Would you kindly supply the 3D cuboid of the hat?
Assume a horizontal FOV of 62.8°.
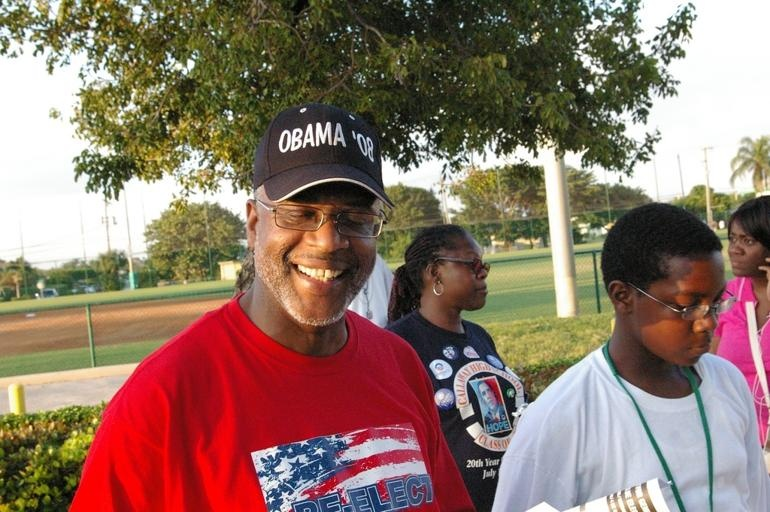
[{"bbox_3d":[-0.288,-0.481,2.884,0.485,0.427,0.702,0,6,-25],"label":"hat"}]
